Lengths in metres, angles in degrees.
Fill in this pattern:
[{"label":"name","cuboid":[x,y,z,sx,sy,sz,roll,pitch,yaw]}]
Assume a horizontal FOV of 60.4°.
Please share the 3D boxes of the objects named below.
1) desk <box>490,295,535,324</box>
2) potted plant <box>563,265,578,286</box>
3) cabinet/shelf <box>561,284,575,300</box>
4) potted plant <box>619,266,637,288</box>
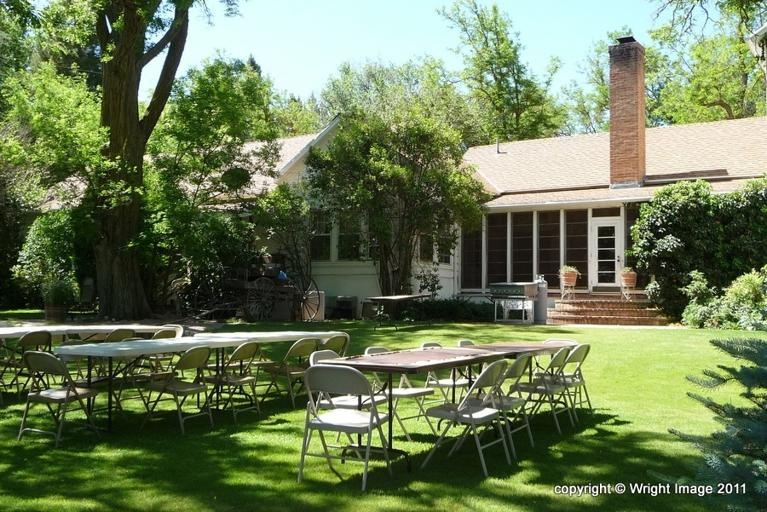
[{"label":"desk","cuboid":[4.226,1.729,21.115,0.997,0.581,0.988,-2,-2,17]},{"label":"potted plant","cuboid":[6.146,0.669,22.058,0.635,0.569,0.564,2,-4,7]},{"label":"cabinet/shelf","cuboid":[6.211,1.193,22.012,0.502,0.768,0.490,2,-3,8]},{"label":"potted plant","cuboid":[7.890,0.676,21.123,0.603,0.630,0.616,2,-8,-9]}]
